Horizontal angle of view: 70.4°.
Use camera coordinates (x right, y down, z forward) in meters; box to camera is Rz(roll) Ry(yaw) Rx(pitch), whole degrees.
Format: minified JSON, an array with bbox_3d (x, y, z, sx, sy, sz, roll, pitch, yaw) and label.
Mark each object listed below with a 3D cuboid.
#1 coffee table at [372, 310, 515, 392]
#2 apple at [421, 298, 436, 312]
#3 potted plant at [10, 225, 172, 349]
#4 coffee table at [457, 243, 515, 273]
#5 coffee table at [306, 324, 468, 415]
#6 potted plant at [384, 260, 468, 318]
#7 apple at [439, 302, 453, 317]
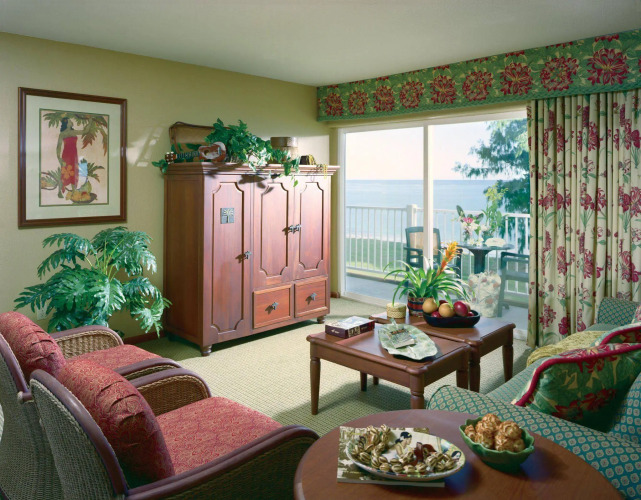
[{"bbox_3d":[1.133,0.639,3.409,0.559,0.424,0.878,-6,7,-35],"label":"coffee table"},{"bbox_3d":[0.843,0.437,3.496,0.077,0.078,0.100,41,-31,-18],"label":"apple"},{"bbox_3d":[-1.967,0.236,3.948,1.084,1.090,1.088,-1,7,-29],"label":"potted plant"},{"bbox_3d":[1.979,0.066,5.370,0.396,0.432,0.415,-3,6,-32],"label":"coffee table"},{"bbox_3d":[0.541,0.588,3.025,0.605,0.435,0.754,0,1,-44],"label":"coffee table"},{"bbox_3d":[0.811,0.270,3.801,0.780,0.331,0.798,2,1,39],"label":"potted plant"},{"bbox_3d":[0.932,0.447,3.350,0.088,0.098,0.087,0,2,-9],"label":"apple"}]
